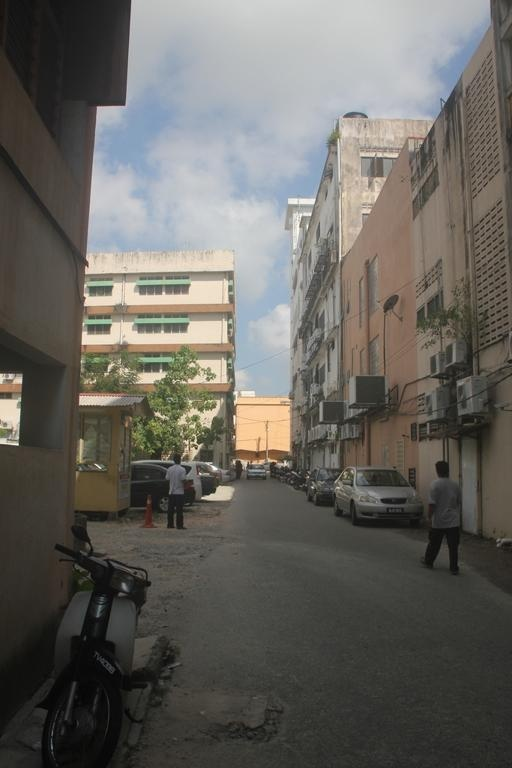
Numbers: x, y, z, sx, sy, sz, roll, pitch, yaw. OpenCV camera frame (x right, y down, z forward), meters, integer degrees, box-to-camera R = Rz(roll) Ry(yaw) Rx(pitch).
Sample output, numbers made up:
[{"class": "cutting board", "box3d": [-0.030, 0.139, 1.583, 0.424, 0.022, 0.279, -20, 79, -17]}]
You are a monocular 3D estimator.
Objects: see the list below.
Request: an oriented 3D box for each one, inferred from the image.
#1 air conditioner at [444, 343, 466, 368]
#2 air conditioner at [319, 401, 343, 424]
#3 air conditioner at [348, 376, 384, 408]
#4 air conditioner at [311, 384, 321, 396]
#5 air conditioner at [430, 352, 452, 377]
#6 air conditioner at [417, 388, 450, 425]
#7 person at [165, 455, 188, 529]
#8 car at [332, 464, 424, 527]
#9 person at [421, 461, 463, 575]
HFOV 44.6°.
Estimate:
[{"class": "air conditioner", "box3d": [4.547, -0.644, 14.394, 0.329, 0.522, 0.654, 3, -9, -18]}, {"class": "air conditioner", "box3d": [3.981, 1.980, 32.941, 1.288, 1.909, 0.870, 0, -8, 1]}, {"class": "air conditioner", "box3d": [4.137, 0.481, 23.757, 0.881, 1.283, 1.135, 0, -13, -1]}, {"class": "air conditioner", "box3d": [4.839, 0.462, 49.082, 0.451, 1.215, 1.060, 1, -8, -6]}, {"class": "air conditioner", "box3d": [4.510, -0.461, 15.308, 0.286, 0.569, 0.617, 0, -1, -7]}, {"class": "air conditioner", "box3d": [4.628, 0.592, 16.137, 0.411, 0.830, 0.890, 1, 0, -2]}, {"class": "person", "box3d": [-1.827, 2.444, 14.216, 0.417, 1.669, 2.023, 1, -8, -8]}, {"class": "car", "box3d": [3.162, 2.899, 16.338, 1.567, 1.489, 2.886, 2, -9, -7]}, {"class": "person", "box3d": [2.589, 1.844, 8.683, 0.482, 1.500, 0.661, -1, -7, 16]}]
